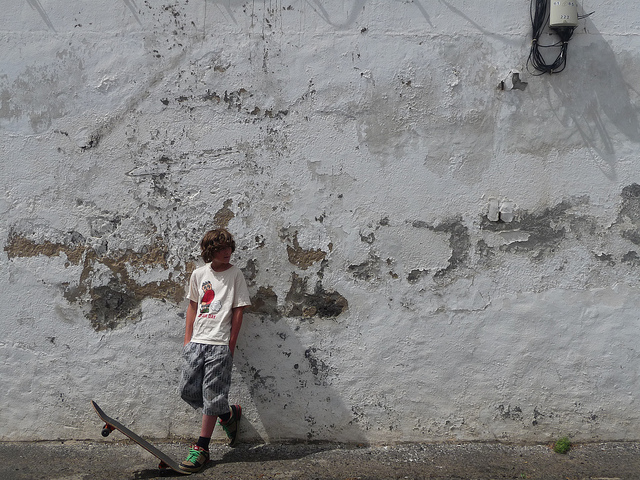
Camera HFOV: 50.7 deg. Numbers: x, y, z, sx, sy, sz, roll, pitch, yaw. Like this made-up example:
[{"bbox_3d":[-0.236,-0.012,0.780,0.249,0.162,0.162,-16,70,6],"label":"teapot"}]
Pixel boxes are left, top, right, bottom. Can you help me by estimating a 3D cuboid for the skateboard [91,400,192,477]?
[{"bbox_3d":[-1.337,1.518,5.120,0.688,0.144,0.118,39,86,0],"label":"skateboard"}]
